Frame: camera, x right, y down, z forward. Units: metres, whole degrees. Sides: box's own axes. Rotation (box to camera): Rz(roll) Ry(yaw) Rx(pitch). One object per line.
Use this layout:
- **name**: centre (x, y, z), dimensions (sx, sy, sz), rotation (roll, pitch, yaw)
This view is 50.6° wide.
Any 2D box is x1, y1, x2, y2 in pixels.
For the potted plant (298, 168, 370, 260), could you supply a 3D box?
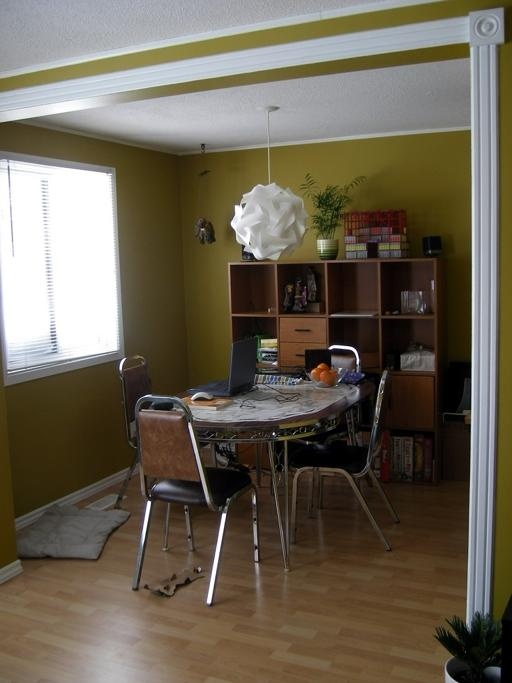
- **potted plant**: centre (0.615, -1.003, 4.636), dimensions (0.598, 0.809, 0.759), rotation (2, -5, -15)

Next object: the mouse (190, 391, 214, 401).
- **mouse**: centre (-0.301, 0.302, 3.037), dimensions (0.090, 0.032, 0.055), rotation (0, 3, 13)

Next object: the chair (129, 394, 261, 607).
- **chair**: centre (-0.292, 0.674, 2.560), dimensions (0.444, 0.932, 0.518), rotation (0, 4, 28)

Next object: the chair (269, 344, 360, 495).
- **chair**: centre (0.299, 0.419, 3.187), dimensions (0.471, 0.843, 0.428), rotation (-10, 13, -10)

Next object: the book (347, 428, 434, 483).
- **book**: centre (1.013, 0.719, 4.025), dimensions (0.583, 0.618, 0.330), rotation (1, 4, 18)

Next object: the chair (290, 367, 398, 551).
- **chair**: centre (0.501, 0.637, 3.082), dimensions (0.617, 0.922, 0.540), rotation (1, 4, 26)

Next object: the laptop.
- **laptop**: centre (-0.190, 0.162, 3.207), dimensions (0.309, 0.332, 0.457), rotation (4, 9, 17)

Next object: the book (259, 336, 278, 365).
- **book**: centre (0.082, 0.069, 4.503), dimensions (0.149, 0.214, 0.068), rotation (0, -3, 19)

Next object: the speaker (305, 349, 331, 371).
- **speaker**: centre (0.400, 0.111, 3.634), dimensions (0.211, 0.226, 0.119), rotation (0, -2, 2)

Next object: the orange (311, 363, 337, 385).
- **orange**: centre (0.414, 0.197, 3.279), dimensions (0.095, 0.069, 0.134), rotation (9, 2, 4)

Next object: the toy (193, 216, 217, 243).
- **toy**: centre (-0.443, -0.975, 4.713), dimensions (0.173, 0.208, 0.119), rotation (-3, 3, -29)

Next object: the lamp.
- **lamp**: centre (0.064, -0.666, 2.935), dimensions (0.415, 0.425, 0.260), rotation (-2, 2, 5)

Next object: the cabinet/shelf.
- **cabinet/shelf**: centre (0.565, 0.201, 4.219), dimensions (1.605, 1.727, 0.412), rotation (-4, 1, -11)
